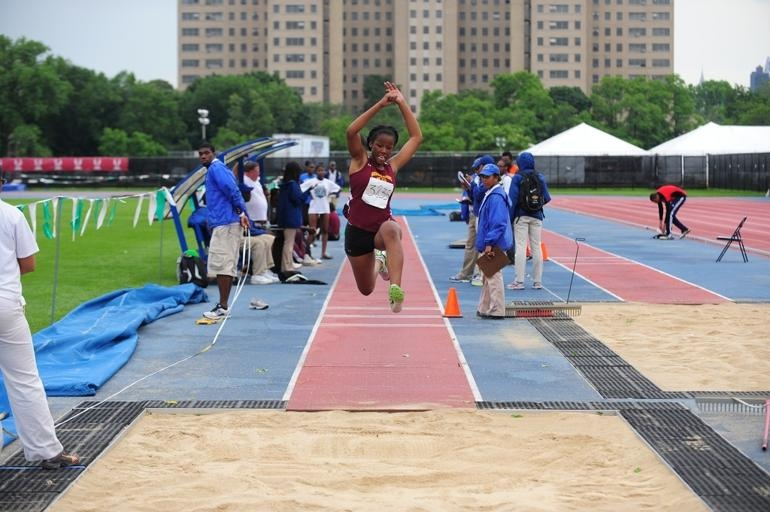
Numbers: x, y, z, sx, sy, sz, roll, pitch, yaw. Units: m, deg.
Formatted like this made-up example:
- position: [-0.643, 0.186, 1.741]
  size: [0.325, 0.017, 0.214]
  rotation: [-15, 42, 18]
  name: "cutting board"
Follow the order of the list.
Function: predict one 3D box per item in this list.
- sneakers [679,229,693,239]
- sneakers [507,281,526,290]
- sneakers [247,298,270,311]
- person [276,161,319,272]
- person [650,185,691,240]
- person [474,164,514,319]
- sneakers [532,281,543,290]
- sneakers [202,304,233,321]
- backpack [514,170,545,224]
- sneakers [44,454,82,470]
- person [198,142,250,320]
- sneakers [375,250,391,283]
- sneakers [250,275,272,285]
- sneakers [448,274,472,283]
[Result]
- position: [8.564, -0.665, 29.277]
  size: [0.463, 0.197, 0.154]
  rotation: [-42, -3, -34]
  name: "sneakers"
- position: [2.543, 0.568, 19.907]
  size: [0.317, 0.117, 0.134]
  rotation: [1, 4, 20]
  name: "sneakers"
- position: [-2.209, 0.840, 18.018]
  size: [0.321, 0.114, 0.160]
  rotation: [1, 3, 18]
  name: "sneakers"
- position: [-1.960, -0.776, 21.121]
  size: [0.589, 2.249, 0.749]
  rotation: [1, 9, 8]
  name: "person"
- position: [8.038, -1.235, 29.022]
  size: [1.027, 1.446, 1.124]
  rotation: [2, 9, 15]
  name: "person"
- position: [1.849, -0.243, 17.382]
  size: [0.592, 2.479, 0.853]
  rotation: [0, 9, 5]
  name: "person"
- position: [2.951, 0.559, 19.958]
  size: [0.182, 0.166, 0.425]
  rotation: [0, -3, -2]
  name: "sneakers"
- position: [-2.753, 0.927, 16.994]
  size: [0.502, 0.207, 0.196]
  rotation: [1, 0, -23]
  name: "sneakers"
- position: [2.817, -1.154, 19.703]
  size: [0.605, 0.884, 0.401]
  rotation: [-1, 9, -7]
  name: "backpack"
- position: [-3.758, 2.365, 12.081]
  size: [0.397, 0.151, 0.167]
  rotation: [-2, 6, -10]
  name: "sneakers"
- position: [-2.631, -0.391, 16.929]
  size: [0.745, 2.839, 0.670]
  rotation: [-2, 9, -9]
  name: "person"
- position: [-0.006, 0.130, 14.277]
  size: [0.168, 0.423, 0.213]
  rotation: [-13, 0, 11]
  name: "sneakers"
- position: [-2.463, 0.464, 20.721]
  size: [0.382, 0.128, 0.181]
  rotation: [0, 2, 17]
  name: "sneakers"
- position: [1.536, 0.455, 21.014]
  size: [0.443, 0.168, 0.160]
  rotation: [3, 3, -4]
  name: "sneakers"
